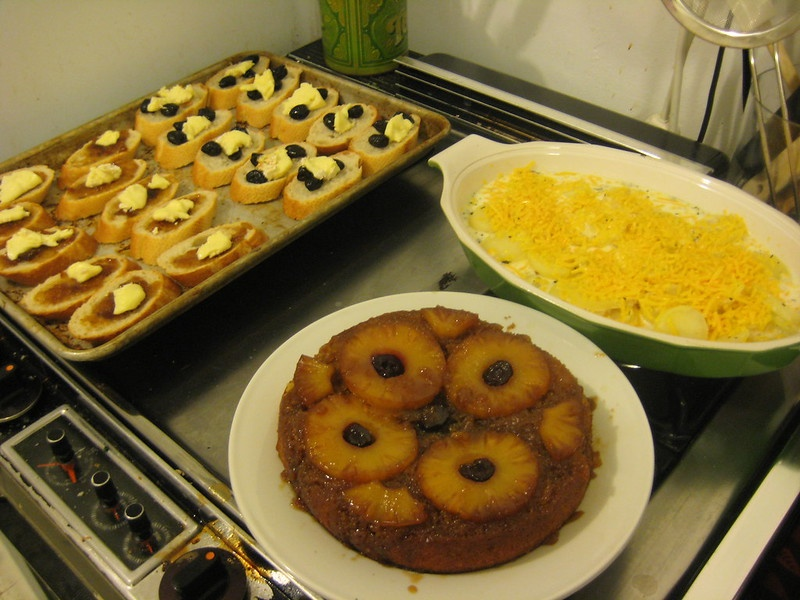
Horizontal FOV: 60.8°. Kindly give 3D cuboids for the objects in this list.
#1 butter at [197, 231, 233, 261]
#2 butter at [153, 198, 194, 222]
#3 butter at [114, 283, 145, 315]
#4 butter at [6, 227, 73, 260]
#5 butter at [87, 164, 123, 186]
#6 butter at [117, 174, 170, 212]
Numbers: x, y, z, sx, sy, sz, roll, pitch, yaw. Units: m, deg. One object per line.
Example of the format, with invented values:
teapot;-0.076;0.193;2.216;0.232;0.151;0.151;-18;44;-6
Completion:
butter;-0.559;-0.162;2.136;0.104;0.030;0.084;-32;51;-14
butter;-0.737;-0.293;2.246;0.101;0.032;0.079;-34;41;-25
butter;-0.775;-0.004;1.960;0.091;0.021;0.086;-19;59;-19
butter;-1.132;-0.186;2.155;0.148;0.046;0.106;-21;42;-28
butter;-1.024;-0.428;2.396;0.072;0.034;0.106;37;53;25
butter;-0.858;-0.361;2.324;0.099;0.040;0.173;37;52;19
